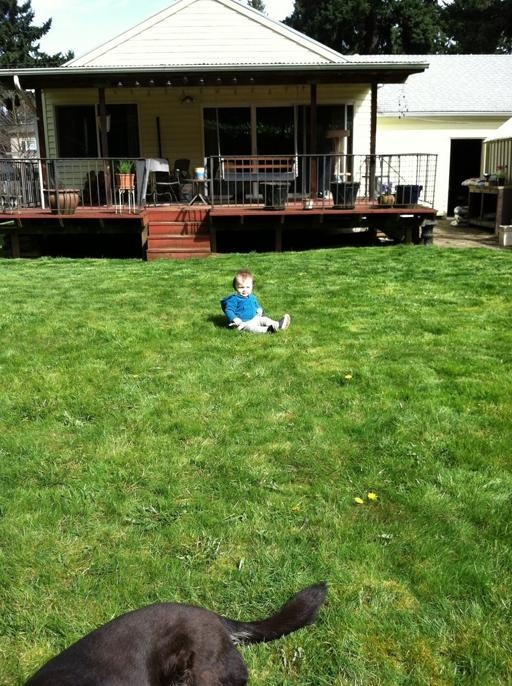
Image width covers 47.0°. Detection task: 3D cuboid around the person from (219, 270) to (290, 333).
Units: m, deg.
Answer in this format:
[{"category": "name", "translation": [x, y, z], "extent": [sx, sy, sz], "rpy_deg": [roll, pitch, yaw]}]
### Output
[{"category": "person", "translation": [-0.026, -0.417, 6.075], "extent": [0.714, 0.675, 0.517], "rpy_deg": [4, 15, 31]}]

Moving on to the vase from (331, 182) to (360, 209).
[{"category": "vase", "translation": [1.779, -2.914, 11.726], "extent": [0.515, 0.486, 0.529], "rpy_deg": [-2, 8, -6]}]

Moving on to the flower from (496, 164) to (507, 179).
[{"category": "flower", "translation": [6.110, -4.260, 14.651], "extent": [0.238, 0.345, 0.876], "rpy_deg": [6, 13, 20]}]

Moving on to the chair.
[{"category": "chair", "translation": [-1.814, -3.812, 13.831], "extent": [1.501, 1.116, 2.778], "rpy_deg": [-1, 13, -11]}]

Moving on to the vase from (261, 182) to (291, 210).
[{"category": "vase", "translation": [0.348, -2.901, 11.733], "extent": [0.535, 0.509, 0.526], "rpy_deg": [5, 10, 41]}]

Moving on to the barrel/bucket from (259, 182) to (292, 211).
[{"category": "barrel/bucket", "translation": [0.422, -2.878, 11.670], "extent": [0.525, 0.481, 0.577], "rpy_deg": [0, 5, 0]}]

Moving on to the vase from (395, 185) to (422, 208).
[{"category": "vase", "translation": [3.016, -2.899, 11.662], "extent": [0.412, 0.358, 0.428], "rpy_deg": [0, 15, 2]}]

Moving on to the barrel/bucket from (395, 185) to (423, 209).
[{"category": "barrel/bucket", "translation": [3.010, -2.889, 11.672], "extent": [0.425, 0.369, 0.441], "rpy_deg": [0, 13, 0]}]

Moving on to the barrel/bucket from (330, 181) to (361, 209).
[{"category": "barrel/bucket", "translation": [1.800, -2.948, 11.759], "extent": [0.512, 0.489, 0.532], "rpy_deg": [-1, 14, 0]}]

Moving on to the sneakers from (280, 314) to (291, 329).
[{"category": "sneakers", "translation": [0.296, -0.214, 6.085], "extent": [0.084, 0.198, 0.065], "rpy_deg": [27, 17, 30]}]

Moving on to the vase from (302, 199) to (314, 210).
[{"category": "vase", "translation": [1.057, -2.737, 11.758], "extent": [0.231, 0.186, 0.240], "rpy_deg": [0, 8, 3]}]

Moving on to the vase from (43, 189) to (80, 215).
[{"category": "vase", "translation": [-3.579, -2.635, 11.015], "extent": [0.498, 0.438, 0.608], "rpy_deg": [-4, 14, -24]}]
